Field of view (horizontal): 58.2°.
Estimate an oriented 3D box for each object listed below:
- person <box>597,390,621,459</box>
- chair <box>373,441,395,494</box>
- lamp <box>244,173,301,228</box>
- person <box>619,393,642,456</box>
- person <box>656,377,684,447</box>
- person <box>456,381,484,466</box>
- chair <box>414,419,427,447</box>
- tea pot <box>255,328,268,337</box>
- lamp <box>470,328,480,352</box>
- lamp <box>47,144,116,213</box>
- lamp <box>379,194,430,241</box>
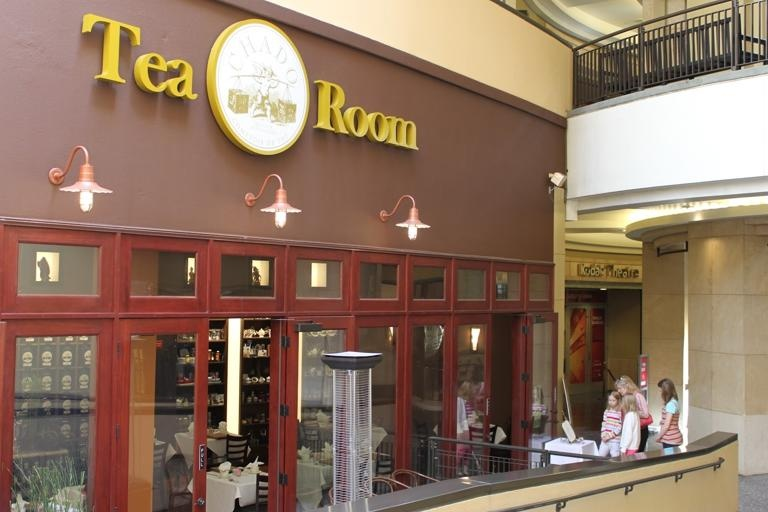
[{"bbox_3d":[3.750,2.803,11.448,0.395,1.047,0.784,-3,-7,18],"label":"person"},{"bbox_3d":[0.014,3.154,10.355,0.319,0.787,0.501,-1,-7,1],"label":"chair"},{"bbox_3d":[-1.411,-0.707,8.726,0.678,0.623,0.434,0,-4,14],"label":"lamp"},{"bbox_3d":[3.909,2.688,11.000,0.300,0.906,0.351,-3,-7,19],"label":"person"},{"bbox_3d":[5.018,2.813,12.175,0.409,1.229,1.462,-3,-8,21],"label":"person"},{"bbox_3d":[1.407,2.854,11.648,0.208,1.468,0.709,-5,-8,35],"label":"person"},{"bbox_3d":[0.600,2.802,10.861,0.222,0.400,0.381,-1,-7,4],"label":"chair"},{"bbox_3d":[-2.330,1.477,13.195,0.132,0.133,0.175,4,5,42],"label":"tea pot"},{"bbox_3d":[1.582,1.426,11.801,0.059,0.394,0.240,-7,-9,43],"label":"lamp"},{"bbox_3d":[-3.398,-0.845,7.746,0.757,0.714,0.542,-1,-1,24],"label":"lamp"},{"bbox_3d":[0.307,-0.562,10.314,0.725,0.684,0.421,-4,-9,27],"label":"lamp"}]
